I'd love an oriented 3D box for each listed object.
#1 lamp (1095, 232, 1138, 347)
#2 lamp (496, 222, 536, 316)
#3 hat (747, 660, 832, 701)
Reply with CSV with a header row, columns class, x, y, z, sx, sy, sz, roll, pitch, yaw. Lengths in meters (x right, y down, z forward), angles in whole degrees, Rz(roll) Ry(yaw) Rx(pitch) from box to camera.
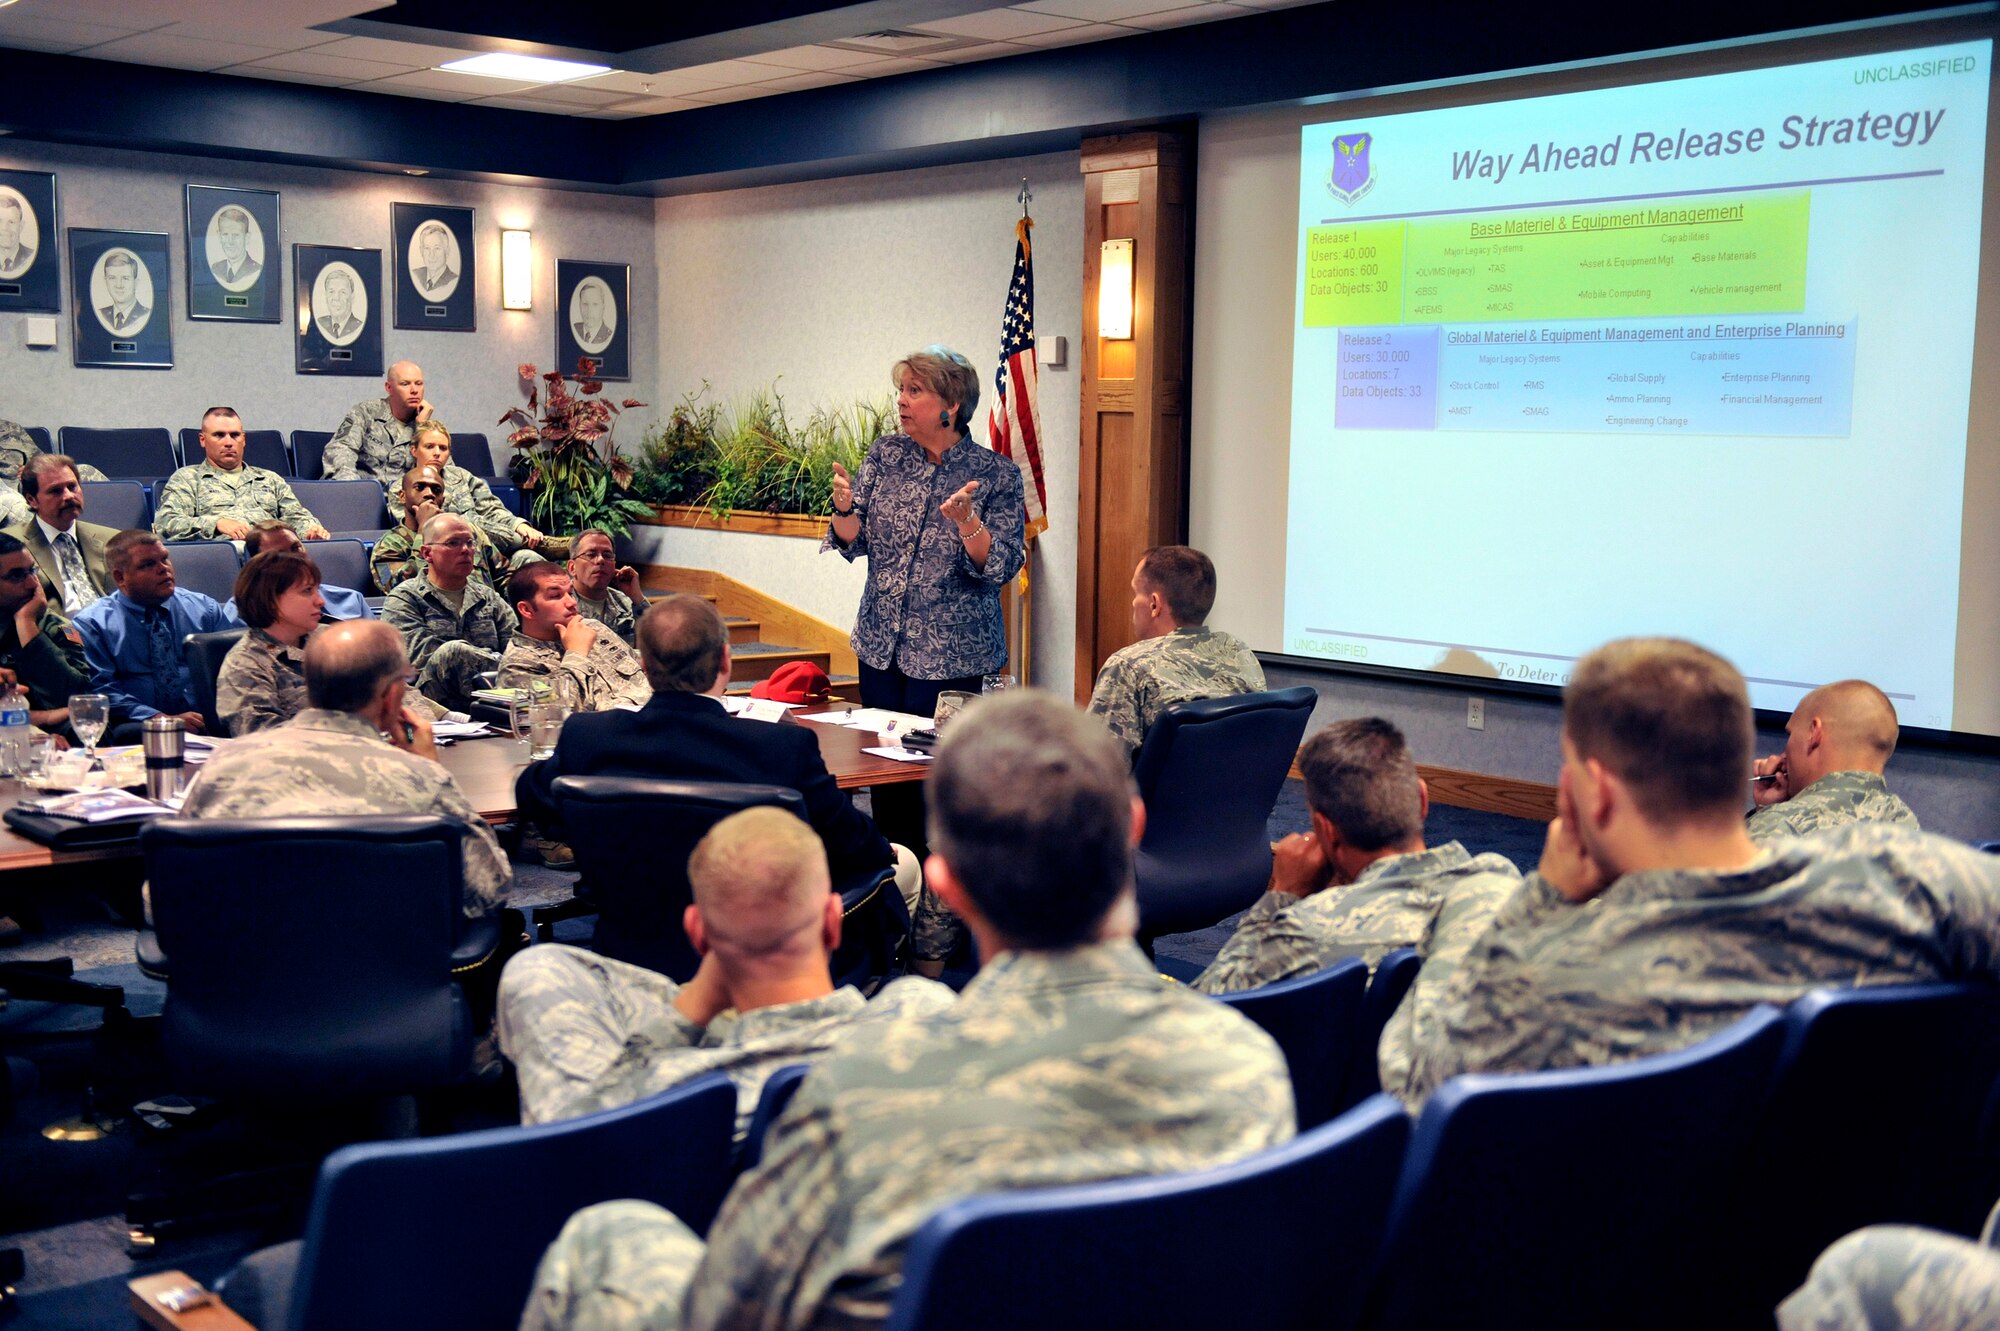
class,x,y,z,sx,sy,sz,roll,pitch,yaw
lamp,0.624,-2.025,7.875,0.079,0.517,0.268,-7,13,-40
lamp,-3.551,-2.874,10.601,0.249,0.621,0.125,-2,10,-20
hat,-0.759,0.078,5.157,0.273,0.104,0.214,0,5,-2
